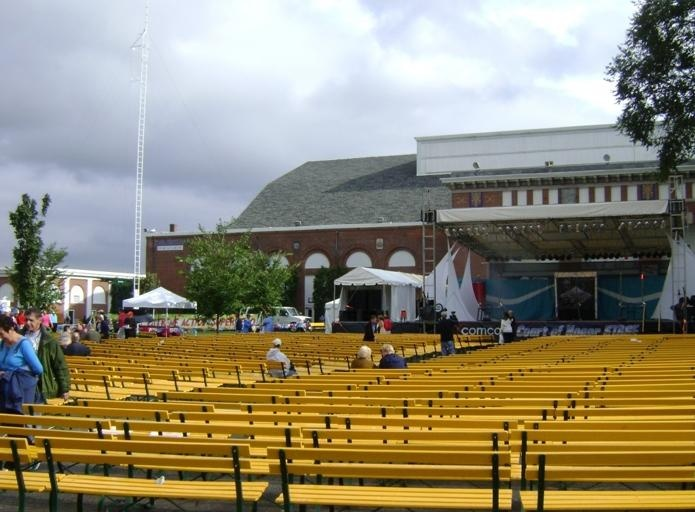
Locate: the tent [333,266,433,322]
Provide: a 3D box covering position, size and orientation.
[{"bbox_3d":[1.345,1.655,47.870,2.601,2.082,4.981,2,-1,23],"label":"tent"}]

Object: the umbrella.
[{"bbox_3d":[-7.490,1.915,43.726,3.428,2.737,2.590,1,-2,-30],"label":"umbrella"}]

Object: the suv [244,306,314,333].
[{"bbox_3d":[-3.417,3.202,54.678,3.236,1.400,1.460,-3,-4,37],"label":"suv"}]
